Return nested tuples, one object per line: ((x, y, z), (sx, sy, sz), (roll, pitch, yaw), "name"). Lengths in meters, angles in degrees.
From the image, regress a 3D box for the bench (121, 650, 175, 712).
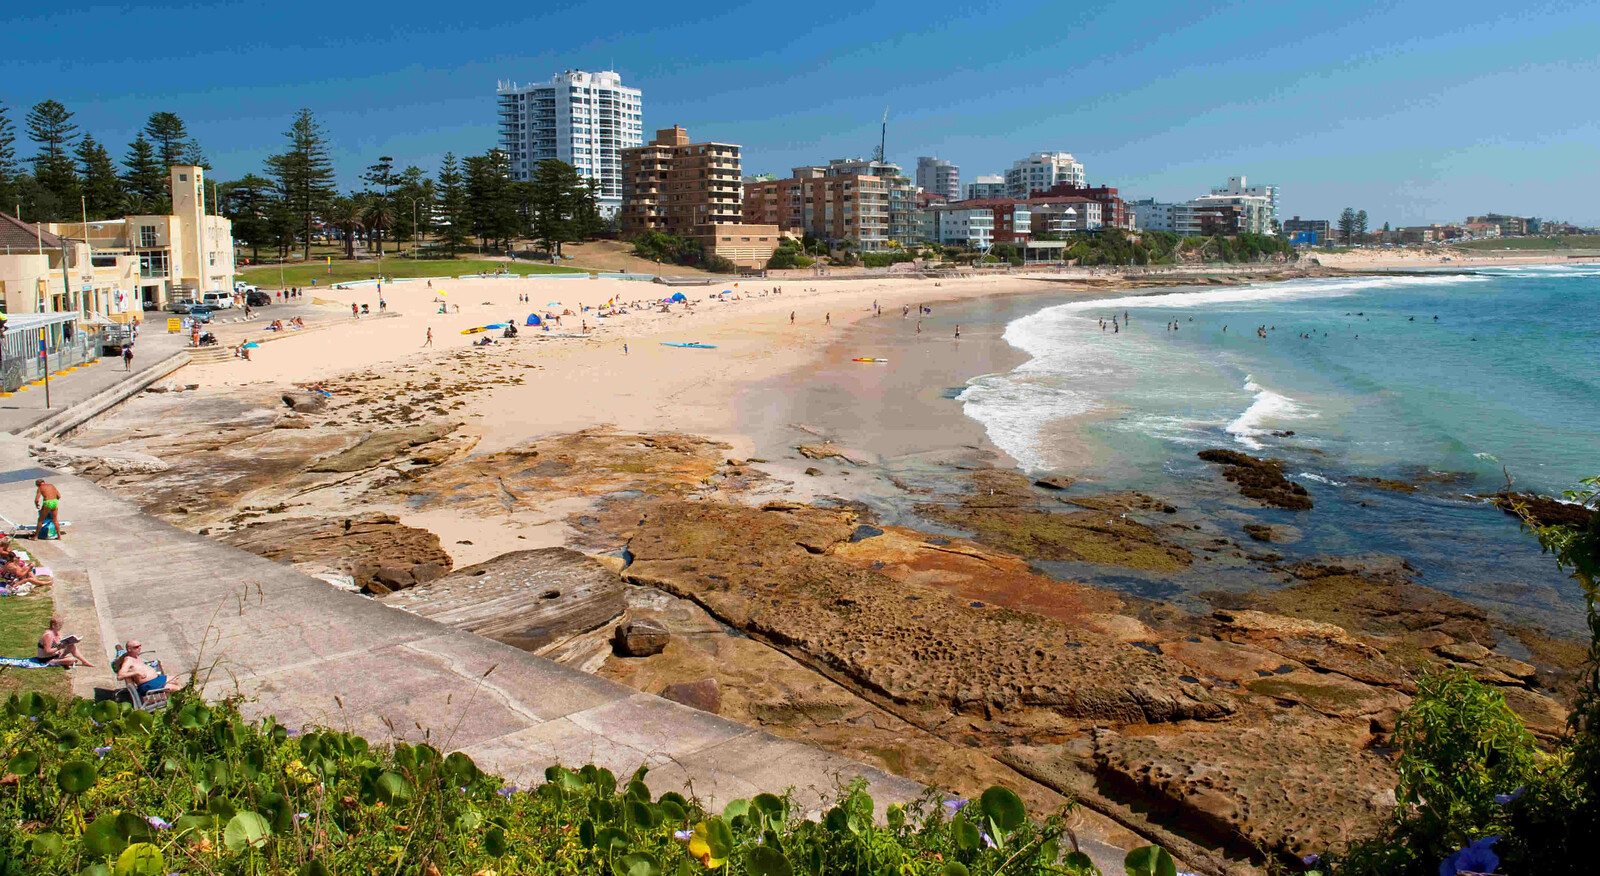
((-10.456, 3.800, 14.555), (0.525, 0.856, 1.005), (-13, 17, -40), "bench")

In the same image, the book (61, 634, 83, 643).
((-12.575, 3.494, 15.768), (0.032, 0.131, 0.282), (-22, -5, 30), "book")

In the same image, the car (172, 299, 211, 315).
((-42.518, -9.148, 63.631), (2.507, 0.668, 1.332), (-4, 11, -25), "car")

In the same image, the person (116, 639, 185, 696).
((-10.717, 3.840, 15.063), (1.101, 0.428, 0.487), (25, 24, -1), "person")
